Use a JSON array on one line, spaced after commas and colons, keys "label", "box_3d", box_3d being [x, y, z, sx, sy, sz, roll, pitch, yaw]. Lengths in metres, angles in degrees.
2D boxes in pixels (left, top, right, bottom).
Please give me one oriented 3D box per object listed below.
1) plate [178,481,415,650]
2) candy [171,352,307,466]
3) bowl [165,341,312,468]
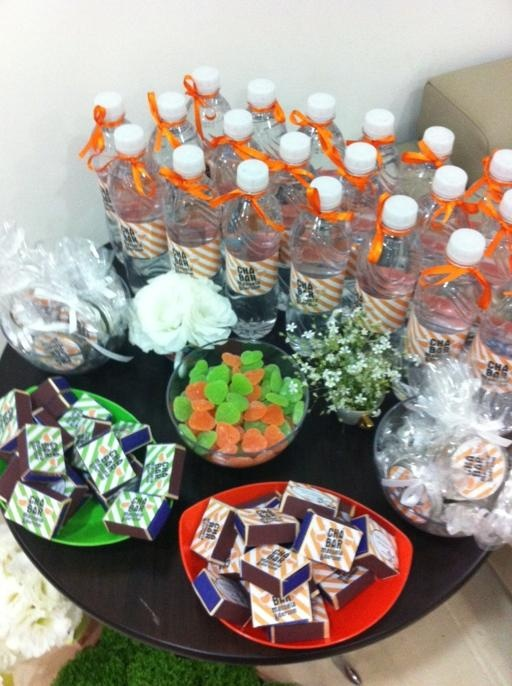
[{"label": "plate", "box_3d": [0.050, 0.300, 0.814, 0.292, 0.117, 0.245, 24, 47, 22]}, {"label": "candy", "box_3d": [-0.031, 0.126, 0.980, 0.207, 0.107, 0.193, -9, 54, -7]}, {"label": "bowl", "box_3d": [-0.037, 0.112, 0.943, 0.206, 0.109, 0.202, 1, 51, -1]}]
